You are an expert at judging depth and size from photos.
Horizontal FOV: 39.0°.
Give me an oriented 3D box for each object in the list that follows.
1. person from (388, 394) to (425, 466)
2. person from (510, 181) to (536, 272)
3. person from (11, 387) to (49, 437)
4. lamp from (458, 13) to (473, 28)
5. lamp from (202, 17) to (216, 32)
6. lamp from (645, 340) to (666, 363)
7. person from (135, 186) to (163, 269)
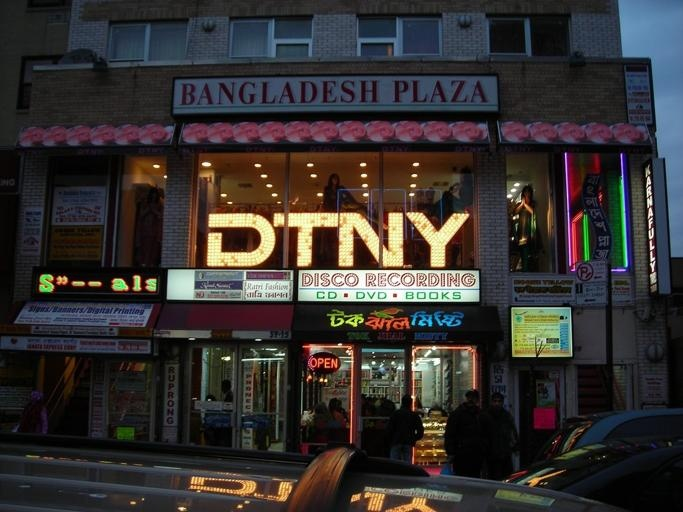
[{"bbox_3d":[1.350,3.888,20.622,0.808,1.949,0.580,4,7,3],"label":"person"},{"bbox_3d":[4.523,-0.750,23.696,0.616,2.182,0.171,0,-11,6],"label":"person"},{"bbox_3d":[-6.911,3.538,21.488,0.680,1.045,0.464,-1,-30,-8],"label":"person"},{"bbox_3d":[3.186,-6.054,24.663,0.391,0.354,0.180,0,-11,7],"label":"lamp"},{"bbox_3d":[-3.457,-6.039,25.079,0.338,0.324,0.309,-1,-27,-1],"label":"lamp"},{"bbox_3d":[7.425,2.222,22.696,0.515,0.558,0.181,0,-18,2],"label":"lamp"},{"bbox_3d":[-4.856,-0.822,24.212,0.712,2.015,0.183,0,-11,4],"label":"person"}]
